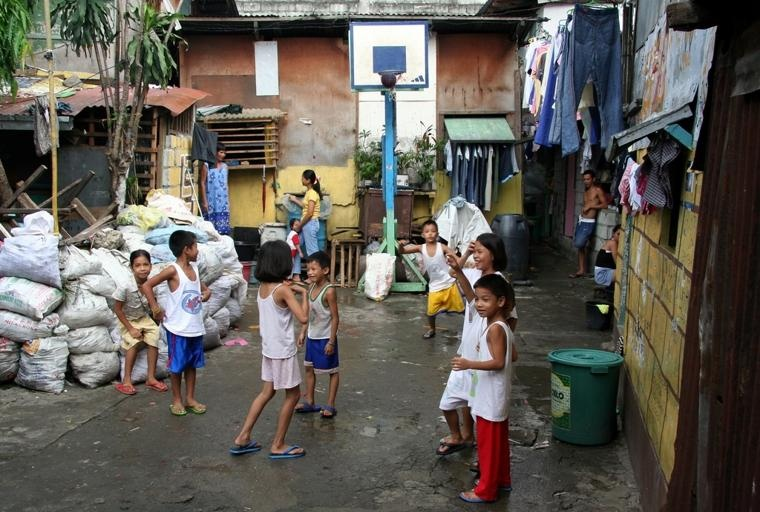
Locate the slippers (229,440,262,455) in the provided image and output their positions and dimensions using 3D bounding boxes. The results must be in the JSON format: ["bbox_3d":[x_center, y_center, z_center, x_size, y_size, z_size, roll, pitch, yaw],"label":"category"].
[{"bbox_3d":[-1.133,1.600,5.886,0.253,0.074,0.102,-2,3,-26],"label":"slippers"}]

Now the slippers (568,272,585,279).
[{"bbox_3d":[3.483,0.335,12.459,0.238,0.052,0.120,-15,20,-27],"label":"slippers"}]

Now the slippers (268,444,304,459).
[{"bbox_3d":[-0.768,1.597,5.810,0.202,0.065,0.121,-1,0,-5],"label":"slippers"}]

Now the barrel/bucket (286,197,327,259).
[{"bbox_3d":[-1.241,-0.552,12.356,0.894,1.479,0.868,1,10,0],"label":"barrel/bucket"}]

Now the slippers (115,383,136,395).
[{"bbox_3d":[-2.522,1.297,6.928,0.089,0.059,0.209,-3,4,-44],"label":"slippers"}]

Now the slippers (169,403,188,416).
[{"bbox_3d":[-1.868,1.399,6.492,0.156,0.096,0.152,-3,14,-14],"label":"slippers"}]

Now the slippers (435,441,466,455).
[{"bbox_3d":[0.588,1.595,5.887,0.242,0.078,0.096,2,2,-18],"label":"slippers"}]

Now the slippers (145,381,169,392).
[{"bbox_3d":[-2.242,1.291,7.036,0.185,0.061,0.107,2,5,23],"label":"slippers"}]

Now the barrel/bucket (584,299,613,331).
[{"bbox_3d":[2.774,0.742,8.981,0.330,0.278,0.351,0,5,0],"label":"barrel/bucket"}]

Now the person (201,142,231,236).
[{"bbox_3d":[-2.833,-1.129,11.988,0.452,1.581,0.482,-3,15,-15],"label":"person"}]

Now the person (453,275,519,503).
[{"bbox_3d":[0.816,0.978,5.357,0.443,1.651,0.603,3,14,11],"label":"person"}]

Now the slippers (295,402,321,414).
[{"bbox_3d":[-0.682,1.406,6.564,0.219,0.072,0.098,3,-2,-12],"label":"slippers"}]

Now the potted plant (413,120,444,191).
[{"bbox_3d":[0.885,-1.849,12.763,0.552,1.177,0.587,2,14,4],"label":"potted plant"}]

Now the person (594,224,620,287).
[{"bbox_3d":[3.401,0.077,10.560,0.280,0.972,1.090,5,15,17],"label":"person"}]

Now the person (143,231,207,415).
[{"bbox_3d":[-1.885,0.605,6.572,0.561,1.683,0.653,-3,14,-13],"label":"person"}]

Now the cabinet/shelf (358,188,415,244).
[{"bbox_3d":[0.066,-0.701,11.906,1.133,1.154,0.813,1,-9,-5],"label":"cabinet/shelf"}]

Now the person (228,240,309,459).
[{"bbox_3d":[-0.923,0.738,5.904,0.620,1.723,0.737,-1,14,-6],"label":"person"}]

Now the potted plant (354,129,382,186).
[{"bbox_3d":[-0.216,-1.796,12.675,0.443,0.947,0.737,0,14,-3],"label":"potted plant"}]

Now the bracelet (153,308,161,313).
[{"bbox_3d":[-2.069,0.487,6.499,0.041,0.032,0.042,9,24,28],"label":"bracelet"}]

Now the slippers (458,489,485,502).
[{"bbox_3d":[0.695,1.804,5.315,0.137,0.040,0.080,8,11,5],"label":"slippers"}]
